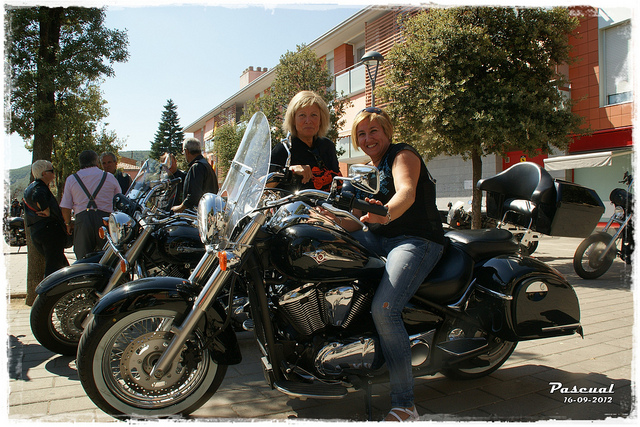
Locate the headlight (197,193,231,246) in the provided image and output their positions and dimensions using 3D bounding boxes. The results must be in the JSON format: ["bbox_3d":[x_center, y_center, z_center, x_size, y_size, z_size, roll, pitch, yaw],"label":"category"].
[{"bbox_3d":[-0.980,0.061,4.534,0.301,0.465,0.251,-4,13,-14],"label":"headlight"}]

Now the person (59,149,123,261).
[{"bbox_3d":[-3.682,0.052,7.800,0.961,2.120,0.692,0,22,-29],"label":"person"}]

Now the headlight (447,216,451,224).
[{"bbox_3d":[3.318,0.178,12.566,0.094,0.169,0.171,-1,-4,-6],"label":"headlight"}]

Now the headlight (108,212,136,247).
[{"bbox_3d":[-2.242,0.180,5.564,0.300,0.400,0.339,-6,13,-41],"label":"headlight"}]

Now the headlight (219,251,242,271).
[{"bbox_3d":[-0.823,0.453,4.473,0.203,0.195,0.048,-3,13,-10],"label":"headlight"}]
